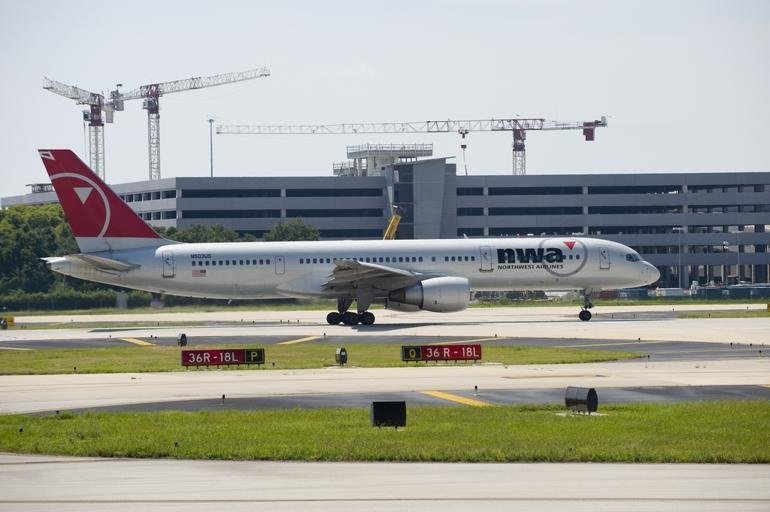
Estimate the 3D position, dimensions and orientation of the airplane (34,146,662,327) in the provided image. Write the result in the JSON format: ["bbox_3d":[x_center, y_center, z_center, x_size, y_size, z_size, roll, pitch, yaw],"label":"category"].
[{"bbox_3d":[-2.169,-1.242,131.638,45.744,12.917,14.200,0,1,6],"label":"airplane"}]
